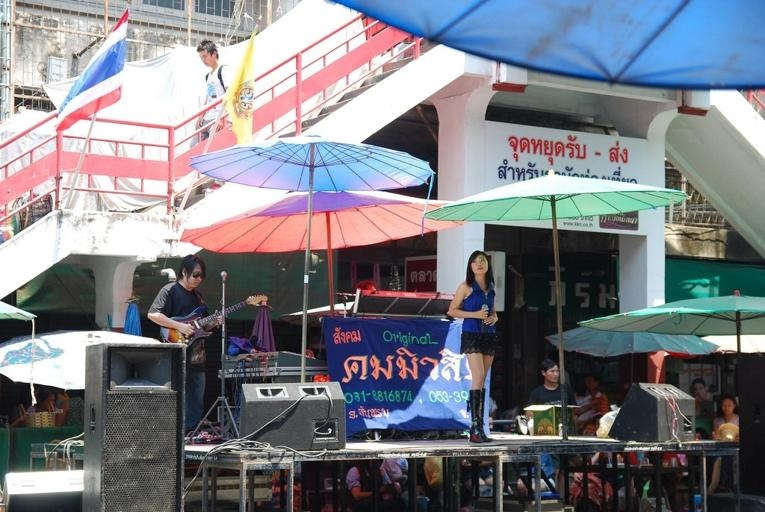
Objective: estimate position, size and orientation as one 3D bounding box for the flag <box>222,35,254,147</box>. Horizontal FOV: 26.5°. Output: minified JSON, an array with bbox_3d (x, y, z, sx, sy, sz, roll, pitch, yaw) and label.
[{"bbox_3d":[-2.293,-2.546,25.798,0.498,1.803,0.487,4,-22,11],"label":"flag"}]

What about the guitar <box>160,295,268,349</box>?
[{"bbox_3d":[-2.527,0.987,24.728,0.708,0.309,2.184,25,35,33],"label":"guitar"}]

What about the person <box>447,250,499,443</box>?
[{"bbox_3d":[1.385,1.383,24.042,0.775,2.622,0.816,0,2,-3],"label":"person"}]

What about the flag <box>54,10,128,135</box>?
[{"bbox_3d":[-4.573,-2.865,25.656,1.014,1.937,0.767,2,-8,-12],"label":"flag"}]

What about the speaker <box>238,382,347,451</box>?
[{"bbox_3d":[-1.252,2.266,22.574,1.435,0.940,0.245,1,-8,-10],"label":"speaker"}]

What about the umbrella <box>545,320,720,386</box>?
[{"bbox_3d":[4.365,1.601,29.182,1.635,0.594,1.566,0,-12,7],"label":"umbrella"}]

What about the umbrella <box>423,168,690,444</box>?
[{"bbox_3d":[3.248,-0.289,24.920,2.550,5.044,4.977,0,1,-14],"label":"umbrella"}]

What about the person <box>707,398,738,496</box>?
[{"bbox_3d":[5.668,3.250,27.092,0.522,1.715,0.925,4,2,33],"label":"person"}]

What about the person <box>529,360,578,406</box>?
[{"bbox_3d":[2.732,2.129,26.334,0.892,0.848,0.434,-4,10,-18],"label":"person"}]

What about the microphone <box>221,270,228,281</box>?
[{"bbox_3d":[-2.573,0.368,26.347,0.135,0.153,0.139,8,-16,-25],"label":"microphone"}]

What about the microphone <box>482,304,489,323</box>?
[{"bbox_3d":[1.509,0.878,23.849,0.069,0.235,0.092,1,5,-2],"label":"microphone"}]
